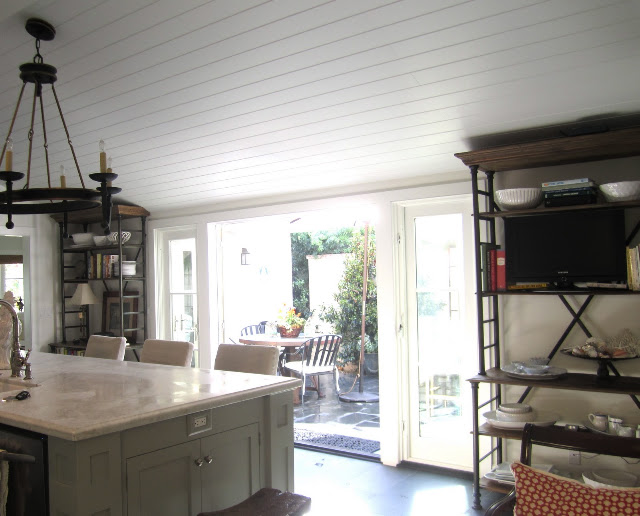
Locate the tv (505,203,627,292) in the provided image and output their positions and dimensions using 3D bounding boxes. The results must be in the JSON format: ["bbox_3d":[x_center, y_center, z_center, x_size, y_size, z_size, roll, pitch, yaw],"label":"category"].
[{"bbox_3d":[1.616,-0.077,3.454,0.085,0.497,0.874,4,-4,-30],"label":"tv"}]

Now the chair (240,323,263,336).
[{"bbox_3d":[-1.023,1.021,7.568,0.255,0.261,0.218,-2,-9,21],"label":"chair"}]

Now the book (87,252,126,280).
[{"bbox_3d":[-2.378,0.096,5.852,0.646,0.196,0.247,-3,-1,36],"label":"book"}]

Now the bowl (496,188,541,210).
[{"bbox_3d":[1.290,-0.380,3.421,0.203,0.075,0.184,-1,-1,11],"label":"bowl"}]

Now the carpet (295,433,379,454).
[{"bbox_3d":[0.159,1.676,4.774,0.861,0.019,0.415,-2,-1,26],"label":"carpet"}]
